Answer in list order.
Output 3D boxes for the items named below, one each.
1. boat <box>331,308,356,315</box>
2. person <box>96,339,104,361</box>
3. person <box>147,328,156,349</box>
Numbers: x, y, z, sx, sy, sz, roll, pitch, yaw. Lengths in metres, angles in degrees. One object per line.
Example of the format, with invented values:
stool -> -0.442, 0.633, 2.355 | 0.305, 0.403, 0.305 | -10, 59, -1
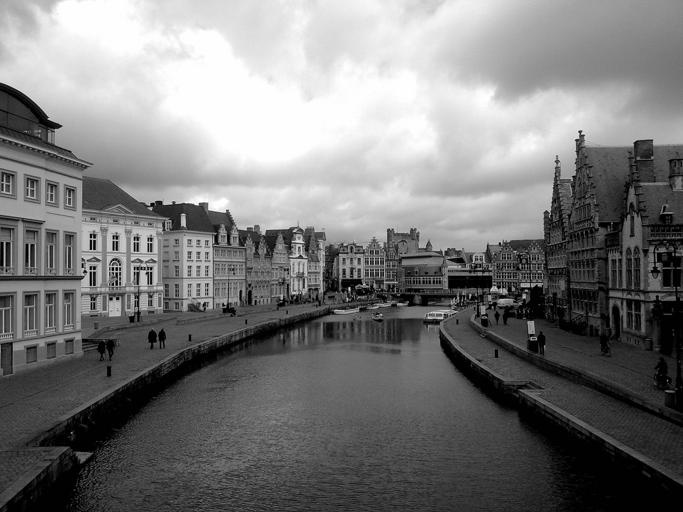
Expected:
boat -> 0.900, 10.147, 122.206 | 1.470, 1.101, 5.129 | -6, -8, 37
person -> -18.856, 7.390, 52.253 | 0.412, 1.624, 1.779 | -3, 8, -18
person -> -16.733, 7.309, 58.803 | 0.531, 1.588, 2.526 | -2, 8, -15
